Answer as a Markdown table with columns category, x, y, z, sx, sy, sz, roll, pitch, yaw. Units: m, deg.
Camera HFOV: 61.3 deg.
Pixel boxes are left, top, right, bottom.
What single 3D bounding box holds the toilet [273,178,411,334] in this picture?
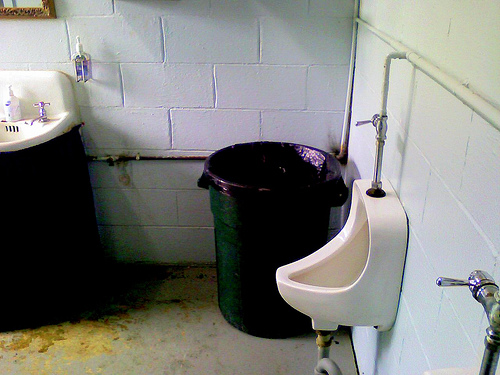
| category | x | y | z | sx | sy | sz | roll | pitch | yaw |
| --- | --- | --- | --- | --- | --- | --- | --- | --- | --- |
| toilet | 0.299 | 0.166 | 1.554 | 0.519 | 0.597 | 0.453 | 3 | 18 | 5 |

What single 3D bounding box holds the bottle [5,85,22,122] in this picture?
| category | x | y | z | sx | sy | sz | roll | pitch | yaw |
| --- | --- | --- | --- | --- | --- | --- | --- | --- | --- |
| bottle | -1.155 | -0.404 | 2.037 | 0.067 | 0.158 | 0.076 | 16 | 31 | 27 |

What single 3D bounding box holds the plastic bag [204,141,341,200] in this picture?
| category | x | y | z | sx | sy | sz | roll | pitch | yaw |
| --- | --- | --- | --- | --- | --- | --- | --- | --- | --- |
| plastic bag | 0.075 | -0.015 | 1.814 | 0.605 | 0.206 | 0.527 | 2 | 23 | 3 |

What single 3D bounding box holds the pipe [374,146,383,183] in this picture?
| category | x | y | z | sx | sy | sz | roll | pitch | yaw |
| --- | --- | --- | --- | --- | --- | --- | --- | --- | --- |
| pipe | 0.388 | -0.072 | 1.284 | 0.028 | 0.116 | 0.025 | 11 | 30 | 19 |

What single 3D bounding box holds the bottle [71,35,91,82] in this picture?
| category | x | y | z | sx | sy | sz | roll | pitch | yaw |
| --- | --- | --- | --- | --- | --- | --- | --- | --- | --- |
| bottle | -0.807 | -0.603 | 2.023 | 0.082 | 0.169 | 0.037 | -8 | 29 | -16 |
